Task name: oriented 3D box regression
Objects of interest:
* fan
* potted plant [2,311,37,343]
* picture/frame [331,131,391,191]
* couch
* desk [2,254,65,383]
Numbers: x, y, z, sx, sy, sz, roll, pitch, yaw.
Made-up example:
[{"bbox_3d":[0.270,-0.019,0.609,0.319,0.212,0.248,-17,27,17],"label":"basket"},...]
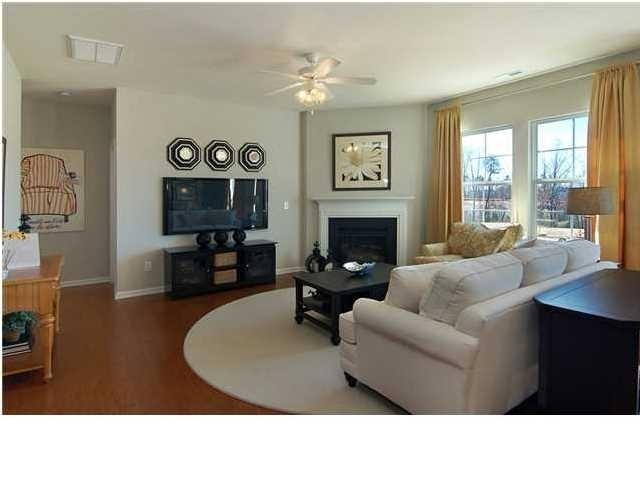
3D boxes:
[{"bbox_3d":[-0.045,-1.711,4.557,0.784,0.282,0.724,3,14,7],"label":"fan"},{"bbox_3d":[-2.309,0.669,3.360,0.226,0.187,0.247,0,-6,4],"label":"potted plant"},{"bbox_3d":[0.676,-1.202,6.570,0.937,0.849,0.037,2,0,6],"label":"picture/frame"},{"bbox_3d":[0.965,0.063,3.051,2.238,0.963,1.010,-4,8,-36],"label":"couch"},{"bbox_3d":[-2.245,0.625,3.383,0.315,0.459,0.952,-3,9,-30],"label":"desk"}]
